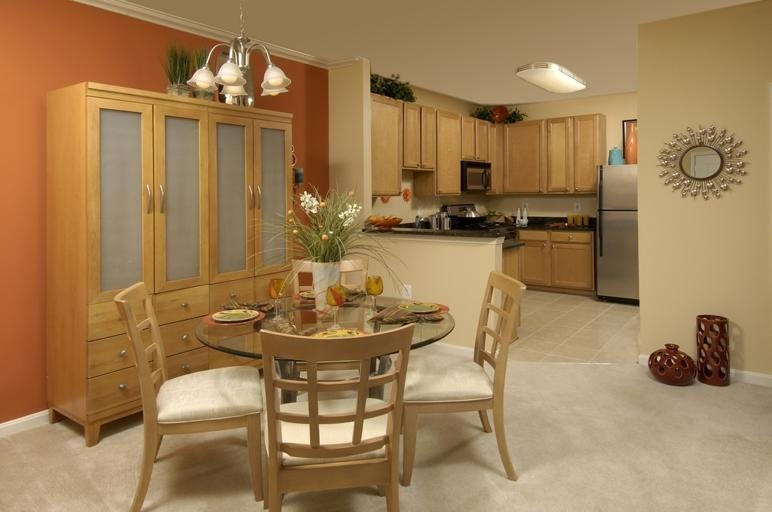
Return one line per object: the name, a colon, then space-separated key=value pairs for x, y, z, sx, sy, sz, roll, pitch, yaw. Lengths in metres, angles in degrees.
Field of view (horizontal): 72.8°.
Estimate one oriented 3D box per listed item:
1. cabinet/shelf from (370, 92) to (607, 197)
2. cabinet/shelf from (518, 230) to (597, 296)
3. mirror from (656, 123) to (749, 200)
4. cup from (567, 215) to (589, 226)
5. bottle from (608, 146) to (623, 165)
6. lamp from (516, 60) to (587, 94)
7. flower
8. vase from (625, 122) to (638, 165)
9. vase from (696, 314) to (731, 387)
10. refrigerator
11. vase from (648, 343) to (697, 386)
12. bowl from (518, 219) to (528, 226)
cabinet/shelf: x=1.364 y=-1.474 z=7.500 sx=3.662 sy=1.269 sz=1.357 roll=-7 pitch=11 yaw=-26
cabinet/shelf: x=2.607 y=0.012 z=7.964 sx=1.196 sy=0.971 sz=0.484 roll=5 pitch=15 yaw=39
mirror: x=2.822 y=-0.838 z=4.678 sx=0.645 sy=0.630 sz=0.043 roll=9 pitch=-14 yaw=22
cup: x=2.895 y=-0.525 z=7.894 sx=0.316 sy=0.165 sz=0.192 roll=3 pitch=11 yaw=24
bottle: x=3.276 y=-1.420 z=7.464 sx=0.203 sy=0.226 sz=0.329 roll=2 pitch=11 yaw=23
lamp: x=1.493 y=-1.643 z=4.763 sx=0.371 sy=0.221 sz=0.772 roll=6 pitch=13 yaw=40
flower: x=-0.419 y=-0.200 z=4.181 sx=1.201 sy=0.706 sz=1.228 roll=4 pitch=5 yaw=28
vase: x=3.472 y=-1.625 z=7.441 sx=0.141 sy=0.593 sz=0.285 roll=2 pitch=11 yaw=22
vase: x=2.862 y=0.821 z=4.614 sx=0.228 sy=0.575 sz=0.300 roll=-3 pitch=11 yaw=-6
refrigerator: x=3.164 y=-0.340 z=7.156 sx=0.558 sy=1.767 sz=0.403 roll=3 pitch=12 yaw=25
vase: x=2.517 y=0.948 z=4.659 sx=0.336 sy=0.277 sz=0.372 roll=1 pitch=-2 yaw=4
bowl: x=2.173 y=-0.532 z=8.285 sx=0.110 sy=0.078 sz=0.101 roll=-1 pitch=1 yaw=0
